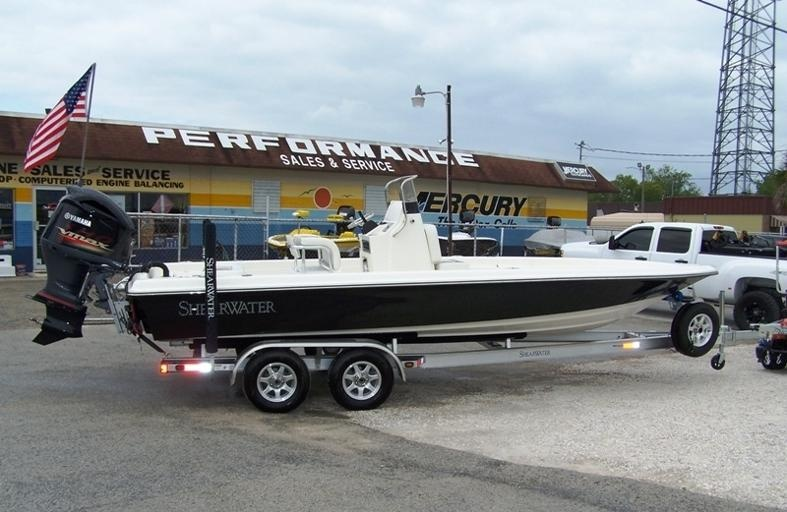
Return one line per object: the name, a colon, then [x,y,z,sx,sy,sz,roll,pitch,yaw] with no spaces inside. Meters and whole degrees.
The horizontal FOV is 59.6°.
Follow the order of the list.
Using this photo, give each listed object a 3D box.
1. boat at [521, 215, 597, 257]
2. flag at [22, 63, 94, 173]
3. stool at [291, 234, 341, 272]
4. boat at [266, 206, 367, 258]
boat: [6.375,-0.586,26.091,2.626,1.136,1.822,4,1,-12]
flag: [-5.226,-2.178,10.688,0.751,2.127,0.144,1,44,-38]
stool: [-1.189,-0.100,10.293,0.608,0.458,0.783,-3,4,-11]
boat: [-2.291,-0.577,18.833,3.282,1.362,1.607,0,1,-29]
